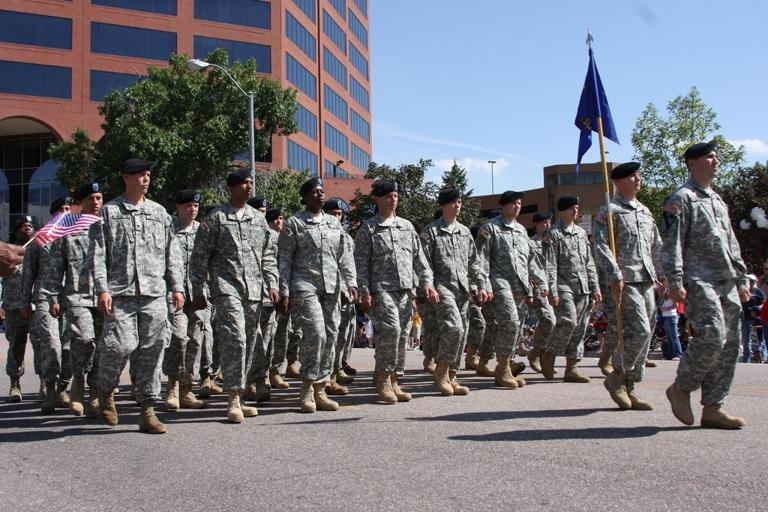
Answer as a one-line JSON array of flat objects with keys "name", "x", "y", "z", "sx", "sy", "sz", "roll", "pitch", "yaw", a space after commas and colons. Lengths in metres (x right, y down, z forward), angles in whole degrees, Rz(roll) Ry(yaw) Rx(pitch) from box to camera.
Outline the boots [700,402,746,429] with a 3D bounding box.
[{"name": "boots", "x": 3.750, "y": 1.815, "z": 8.540, "sx": 0.563, "sy": 0.349, "sz": 0.205, "roll": -2, "pitch": -3, "yaw": 9}]

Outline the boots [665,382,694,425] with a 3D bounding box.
[{"name": "boots", "x": 3.387, "y": 1.702, "z": 8.703, "sx": 0.166, "sy": 0.441, "sz": 0.327, "roll": -17, "pitch": -10, "yaw": -13}]
